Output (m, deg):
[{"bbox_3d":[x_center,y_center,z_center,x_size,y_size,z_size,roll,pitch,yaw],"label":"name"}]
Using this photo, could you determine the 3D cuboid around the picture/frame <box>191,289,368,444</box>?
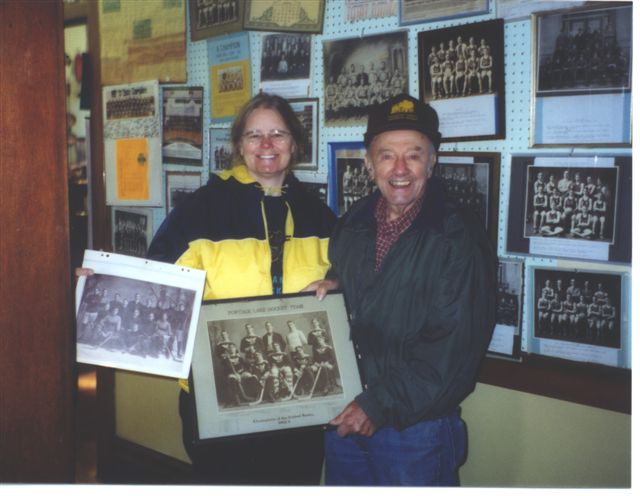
[{"bbox_3d":[-0.137,0.384,1.848,0.467,0.379,0.021,-6,-20,-5],"label":"picture/frame"}]

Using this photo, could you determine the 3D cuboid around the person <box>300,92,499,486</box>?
[{"bbox_3d":[0.264,0.197,1.921,0.579,1.385,0.408,1,7,-1],"label":"person"}]
